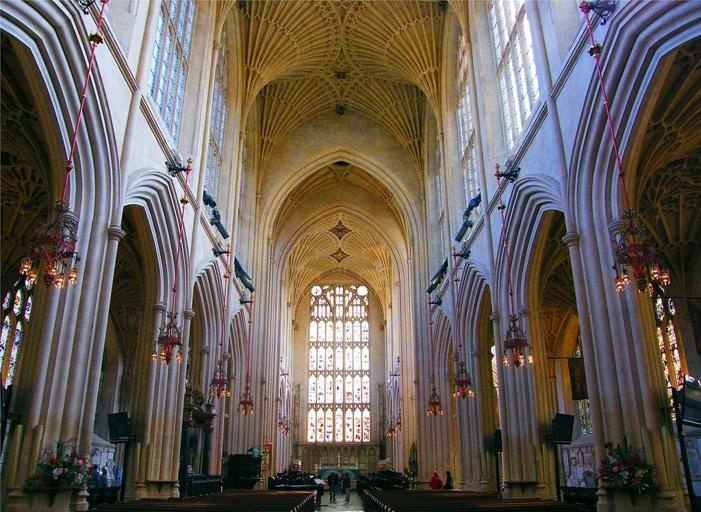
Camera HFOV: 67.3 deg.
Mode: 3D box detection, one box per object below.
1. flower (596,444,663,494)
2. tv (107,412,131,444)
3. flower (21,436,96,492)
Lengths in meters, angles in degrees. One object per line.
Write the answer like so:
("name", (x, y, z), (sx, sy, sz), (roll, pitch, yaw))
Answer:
("flower", (5.231, 4.082, 10.014), (0.808, 0.687, 0.802), (9, -16, -42))
("tv", (-6.140, 4.514, 13.959), (0.584, 0.649, 1.177), (10, -29, -20))
("flower", (-5.492, 3.866, 9.967), (0.858, 0.854, 0.783), (1, -12, 6))
